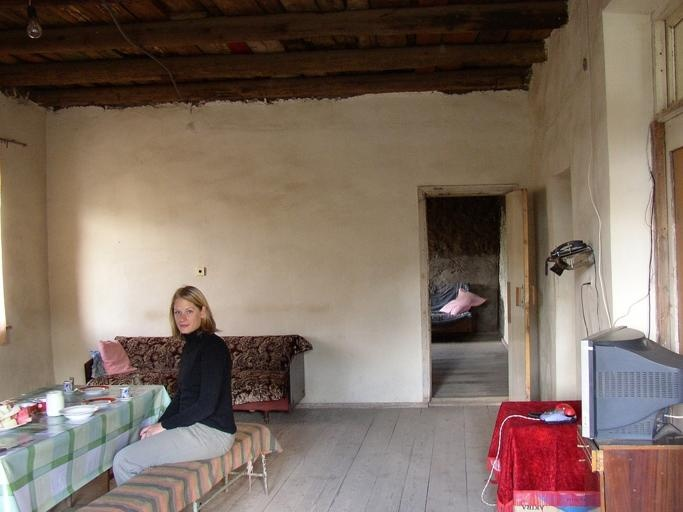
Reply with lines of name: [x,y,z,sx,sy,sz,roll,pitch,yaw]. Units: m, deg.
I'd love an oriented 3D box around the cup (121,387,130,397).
cup: [-1.588,0.996,4.087,0.055,0.061,0.055,0,-4,0]

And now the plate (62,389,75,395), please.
plate: [-2.077,1.027,4.239,0.058,0.029,0.080,1,-6,-6]

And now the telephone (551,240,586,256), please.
telephone: [1.855,-0.065,4.532,0.180,0.054,0.140,-18,0,28]

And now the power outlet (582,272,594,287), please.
power outlet: [2.029,0.196,4.598,0.044,0.089,0.088,9,18,-7]

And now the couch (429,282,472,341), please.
couch: [2.140,1.112,10.896,0.938,0.908,0.953,-1,-3,17]

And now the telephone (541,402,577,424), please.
telephone: [1.543,1.095,3.916,0.179,0.077,0.137,3,-6,-25]

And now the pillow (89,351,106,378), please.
pillow: [-2.818,1.261,6.413,0.071,0.271,0.249,3,-23,-45]
